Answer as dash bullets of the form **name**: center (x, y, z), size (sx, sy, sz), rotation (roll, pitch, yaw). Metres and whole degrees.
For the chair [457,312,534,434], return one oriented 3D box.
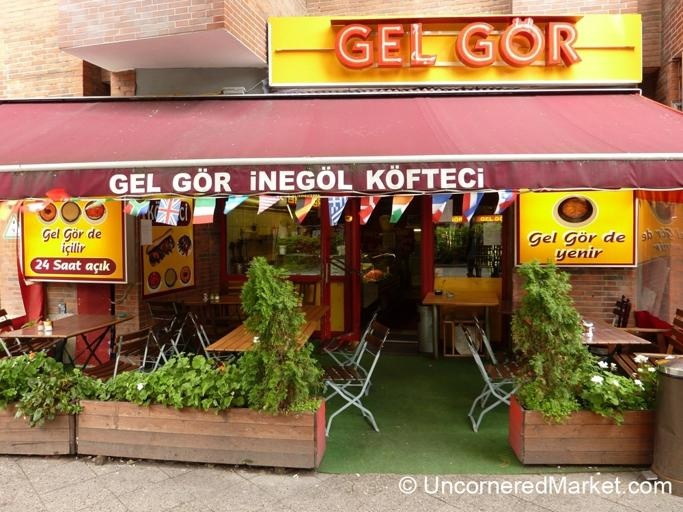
- **chair**: center (2.288, 1.781, 9.199), size (1.574, 1.803, 1.477), rotation (-2, 6, 10)

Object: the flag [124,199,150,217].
- **flag**: center (-2.962, -0.714, 8.476), size (0.362, 0.219, 0.180), rotation (3, -27, 4)

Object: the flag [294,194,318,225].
- **flag**: center (-0.486, -0.661, 8.253), size (0.271, 0.362, 0.535), rotation (-1, 11, 0)

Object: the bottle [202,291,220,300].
- **bottle**: center (-2.547, 0.797, 11.482), size (0.288, 0.158, 0.144), rotation (0, 1, 9)

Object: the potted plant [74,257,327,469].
- **potted plant**: center (-1.762, 1.225, 8.103), size (3.124, 1.923, 2.830), rotation (0, 2, 2)

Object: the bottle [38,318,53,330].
- **bottle**: center (-4.771, 1.099, 9.429), size (0.291, 0.184, 0.271), rotation (2, -2, 0)

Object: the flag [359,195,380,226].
- **flag**: center (0.372, -0.659, 8.241), size (0.353, 0.438, 0.205), rotation (7, 5, 13)

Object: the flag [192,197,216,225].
- **flag**: center (-1.895, -0.634, 8.083), size (0.304, 0.351, 0.184), rotation (-3, 12, -13)

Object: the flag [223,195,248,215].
- **flag**: center (-1.444, -0.715, 8.068), size (0.305, 0.244, 0.457), rotation (-3, 11, -10)

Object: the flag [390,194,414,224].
- **flag**: center (0.830, -0.661, 8.172), size (0.266, 0.381, 0.268), rotation (0, 12, 6)

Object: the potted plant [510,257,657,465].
- **potted plant**: center (2.934, 1.326, 7.191), size (1.623, 2.427, 0.695), rotation (0, 12, 3)

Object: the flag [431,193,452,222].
- **flag**: center (1.344, -0.672, 8.041), size (0.232, 0.379, 0.277), rotation (-2, 12, -5)

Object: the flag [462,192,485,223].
- **flag**: center (1.796, -0.690, 8.068), size (0.239, 0.405, 0.336), rotation (1, 12, 11)

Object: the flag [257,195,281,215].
- **flag**: center (-1.019, -0.744, 8.302), size (0.287, 0.255, 0.382), rotation (-2, 11, -6)
